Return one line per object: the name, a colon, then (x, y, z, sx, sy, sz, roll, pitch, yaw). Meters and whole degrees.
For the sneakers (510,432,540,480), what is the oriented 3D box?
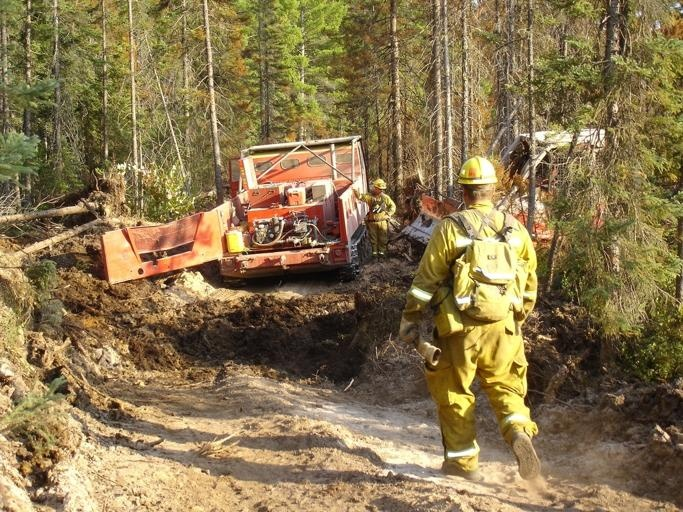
sneakers: (2.157, 2.342, 10.159, 0.243, 0.635, 0.242, -17, 1, -5)

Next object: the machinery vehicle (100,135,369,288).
machinery vehicle: (-1.665, -0.987, 17.703, 4.919, 2.987, 4.070, 3, 11, -9)

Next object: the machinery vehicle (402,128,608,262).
machinery vehicle: (3.653, -1.545, 18.871, 4.090, 2.463, 2.190, 4, 0, -32)
